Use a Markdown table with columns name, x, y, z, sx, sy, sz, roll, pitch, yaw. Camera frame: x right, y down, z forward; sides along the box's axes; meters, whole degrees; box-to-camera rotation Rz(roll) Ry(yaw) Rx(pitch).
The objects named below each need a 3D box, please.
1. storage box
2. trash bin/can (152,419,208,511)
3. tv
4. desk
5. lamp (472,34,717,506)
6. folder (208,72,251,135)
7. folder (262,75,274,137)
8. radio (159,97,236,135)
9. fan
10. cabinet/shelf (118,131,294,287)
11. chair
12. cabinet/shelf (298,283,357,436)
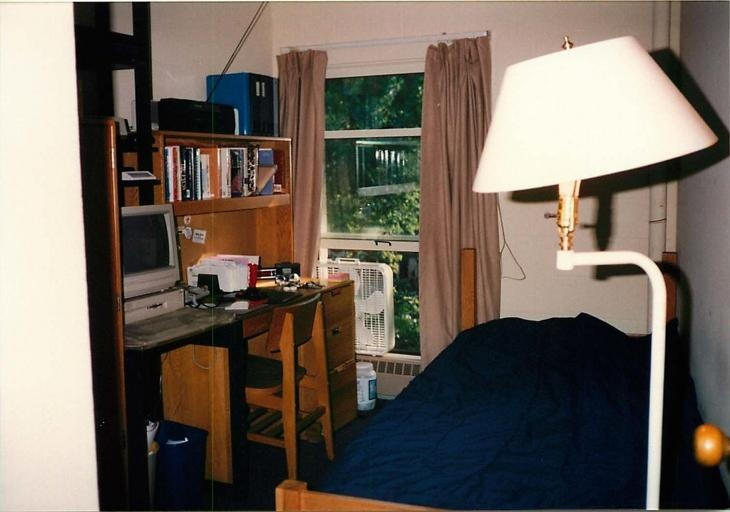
| name | x | y | z | sx | sy | sz | roll | pitch | yaw |
| --- | --- | --- | --- | --- | --- | --- | --- | --- | --- |
| storage box | -0.808 | 0.927 | 2.773 | 0.246 | 0.381 | 0.198 | -5 | 6 | -25 |
| trash bin/can | -0.776 | 0.920 | 2.764 | 0.163 | 0.389 | 0.211 | 8 | 9 | 29 |
| tv | -0.944 | -0.021 | 2.866 | 0.296 | 0.378 | 0.186 | -9 | -8 | 6 |
| desk | -0.603 | 0.571 | 3.255 | 0.558 | 0.863 | 1.035 | 3 | 5 | 26 |
| lamp | 0.567 | 0.079 | 1.585 | 0.536 | 1.231 | 0.292 | -3 | 6 | -16 |
| folder | -0.736 | -0.829 | 3.527 | 0.181 | 0.334 | 0.244 | 5 | 10 | 10 |
| folder | -0.551 | -0.858 | 3.660 | 0.046 | 0.325 | 0.137 | 0 | 6 | 23 |
| radio | -0.810 | -0.682 | 3.155 | 0.089 | 0.154 | 0.478 | 2 | 7 | 32 |
| fan | -0.069 | 0.311 | 4.005 | 0.547 | 0.636 | 0.202 | 3 | 13 | 30 |
| cabinet/shelf | -0.837 | -0.286 | 3.386 | 0.287 | 0.695 | 0.975 | 7 | 11 | 29 |
| chair | -0.380 | 0.628 | 3.282 | 0.432 | 0.903 | 0.386 | -2 | 2 | -43 |
| cabinet/shelf | -0.186 | 0.549 | 3.652 | 0.301 | 0.820 | 0.325 | 5 | 8 | 21 |
